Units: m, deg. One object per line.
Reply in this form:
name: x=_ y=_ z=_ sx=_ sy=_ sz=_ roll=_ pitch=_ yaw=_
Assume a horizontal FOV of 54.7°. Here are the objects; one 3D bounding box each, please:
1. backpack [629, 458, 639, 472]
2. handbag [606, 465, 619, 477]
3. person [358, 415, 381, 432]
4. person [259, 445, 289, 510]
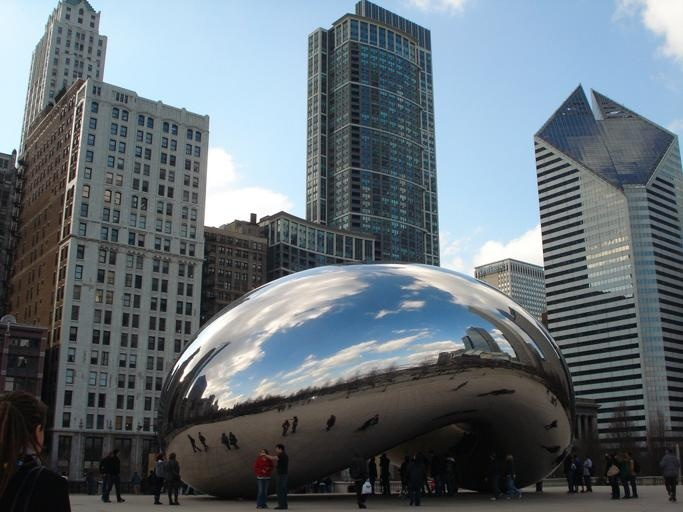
backpack: x=9.514 y=6.807 z=21.488 sx=0.387 sy=0.543 sz=0.186 roll=11 pitch=-13 yaw=-38
handbag: x=8.436 y=6.615 z=20.510 sx=0.347 sy=0.389 sz=0.708 roll=-9 pitch=-23 yaw=22
person: x=0.637 y=3.812 z=15.124 sx=0.695 sy=0.423 sz=0.242 roll=-4 pitch=-3 yaw=3
person: x=-1.480 y=4.972 z=14.969 sx=0.542 sy=1.411 sz=1.021 roll=1 pitch=-21 yaw=-3
